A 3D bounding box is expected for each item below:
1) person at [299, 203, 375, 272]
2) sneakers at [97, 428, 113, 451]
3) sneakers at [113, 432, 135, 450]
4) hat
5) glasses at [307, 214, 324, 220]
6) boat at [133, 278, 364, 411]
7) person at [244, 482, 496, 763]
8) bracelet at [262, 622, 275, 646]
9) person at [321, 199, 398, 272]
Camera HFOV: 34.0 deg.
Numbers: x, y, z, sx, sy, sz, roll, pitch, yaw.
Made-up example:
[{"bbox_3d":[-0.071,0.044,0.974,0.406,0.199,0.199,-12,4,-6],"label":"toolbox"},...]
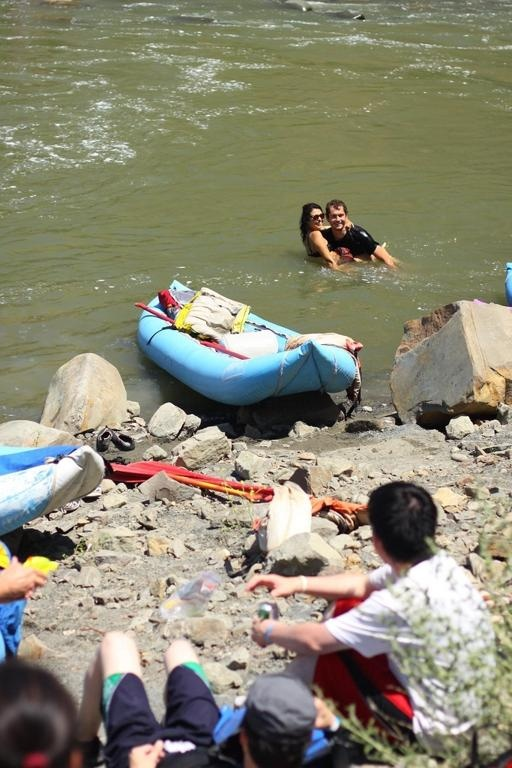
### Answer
[{"bbox_3d":[0.865,-1.663,9.835,0.733,0.927,0.632,-9,31,8],"label":"person"},{"bbox_3d":[-1.078,0.397,5.975,0.106,0.083,0.144,1,64,-12],"label":"sneakers"},{"bbox_3d":[-0.950,0.411,6.022,0.104,0.061,0.169,17,8,-23],"label":"sneakers"},{"bbox_3d":[0.061,0.863,2.232,0.189,0.106,0.165,2,20,0],"label":"hat"},{"bbox_3d":[0.684,-1.916,9.606,0.106,0.032,0.103,7,11,44],"label":"glasses"},{"bbox_3d":[-0.256,-0.408,6.862,0.983,0.476,1.981,-11,17,-27],"label":"boat"},{"bbox_3d":[0.350,0.840,2.715,0.813,0.909,0.472,2,13,18],"label":"person"},{"bbox_3d":[0.037,0.842,2.811,0.024,0.050,0.068,17,20,-12],"label":"bracelet"},{"bbox_3d":[1.154,-1.726,9.522,0.846,0.703,0.405,4,23,5],"label":"person"}]
